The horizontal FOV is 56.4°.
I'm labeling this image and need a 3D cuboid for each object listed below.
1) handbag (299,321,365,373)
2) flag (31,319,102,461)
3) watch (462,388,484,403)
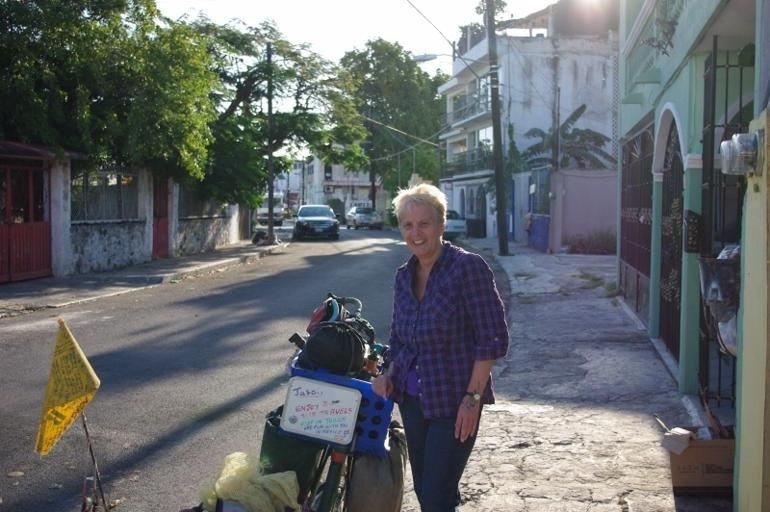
[{"bbox_3d":[-0.360,0.669,5.086,0.299,0.390,0.404,3,12,5],"label":"handbag"},{"bbox_3d":[-2.216,0.856,4.998,0.260,0.955,0.534,24,28,37],"label":"flag"},{"bbox_3d":[0.619,0.977,5.028,0.097,0.065,0.108,4,-1,3],"label":"watch"}]
